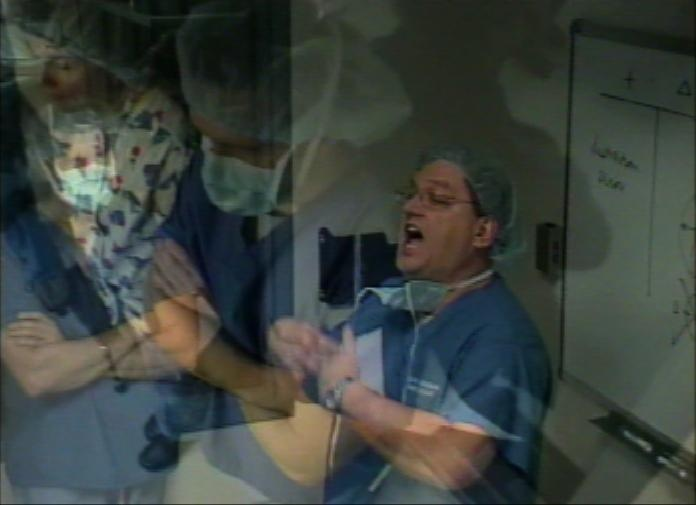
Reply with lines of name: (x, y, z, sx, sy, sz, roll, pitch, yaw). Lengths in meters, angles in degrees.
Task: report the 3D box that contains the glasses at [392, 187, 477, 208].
glasses: (0.427, -0.261, 3.380, 0.399, 0.090, 0.025, 8, 16, 3)
